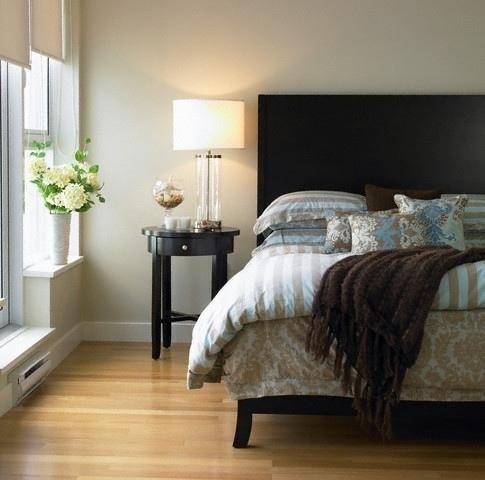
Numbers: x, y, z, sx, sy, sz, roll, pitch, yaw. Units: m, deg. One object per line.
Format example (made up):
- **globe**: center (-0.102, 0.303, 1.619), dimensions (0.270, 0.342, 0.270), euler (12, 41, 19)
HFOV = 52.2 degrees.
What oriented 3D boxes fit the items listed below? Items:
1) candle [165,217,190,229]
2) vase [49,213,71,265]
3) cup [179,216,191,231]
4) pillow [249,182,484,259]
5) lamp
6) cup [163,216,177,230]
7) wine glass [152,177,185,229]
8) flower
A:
- **candle**: center (-0.417, -0.105, 3.224), dimensions (0.113, 0.055, 0.086), euler (1, 3, 7)
- **vase**: center (-1.147, -0.001, 3.138), dimensions (0.117, 0.333, 0.095), euler (-2, 6, -25)
- **cup**: center (-0.372, -0.103, 3.201), dimensions (0.072, 0.083, 0.081), euler (2, 9, 1)
- **pillow**: center (0.788, -0.096, 3.073), dimensions (1.453, 0.400, 0.750), euler (1, 5, 2)
- **lamp**: center (-0.209, -0.509, 3.332), dimensions (0.503, 0.860, 0.389), euler (-1, 5, -9)
- **cup**: center (-0.471, -0.111, 3.235), dimensions (0.082, 0.072, 0.067), euler (1, 0, 0)
- **wine glass**: center (-0.479, -0.237, 3.227), dimensions (0.246, 0.419, 0.280), euler (0, 1, -3)
- **flower**: center (-1.132, -0.406, 3.209), dimensions (0.438, 0.488, 0.566), euler (-1, 6, -9)
